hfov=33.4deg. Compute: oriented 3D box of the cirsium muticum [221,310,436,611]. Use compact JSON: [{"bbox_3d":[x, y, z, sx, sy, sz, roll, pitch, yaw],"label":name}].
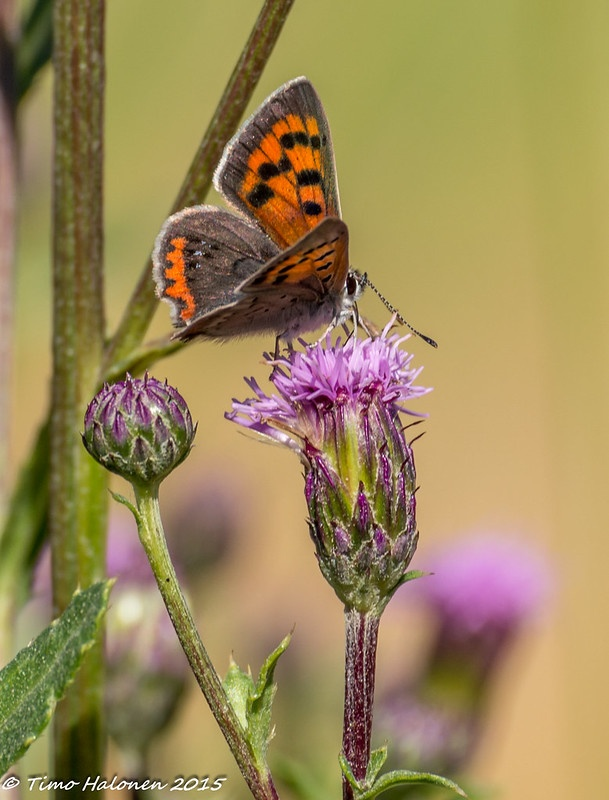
[{"bbox_3d":[0.108,0.122,2.148,0.438,0.531,0.635,-6,-97,19],"label":"cirsium muticum"}]
